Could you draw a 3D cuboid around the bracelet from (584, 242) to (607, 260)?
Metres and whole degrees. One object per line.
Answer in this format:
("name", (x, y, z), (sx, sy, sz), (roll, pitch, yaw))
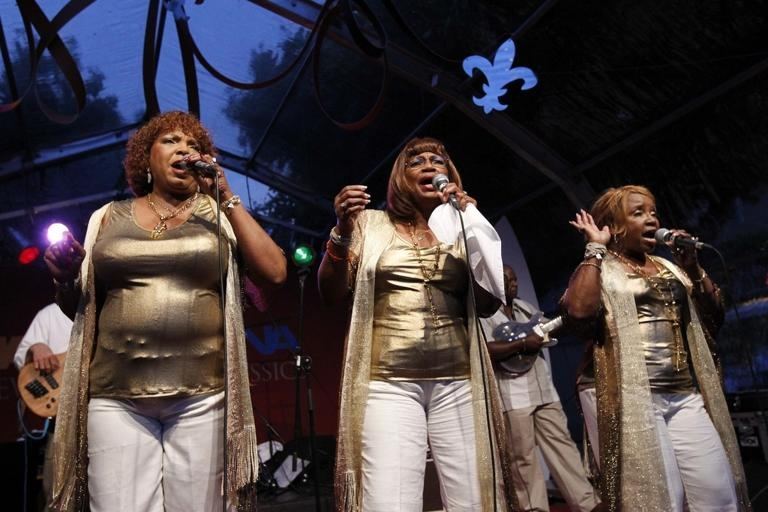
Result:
("bracelet", (1.570, -0.034, 4.489), (0.110, 0.107, 0.146), (8, -1, 10))

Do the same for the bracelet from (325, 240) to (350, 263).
("bracelet", (-0.310, -0.025, 3.856), (0.129, 0.100, 0.132), (0, 0, 4))

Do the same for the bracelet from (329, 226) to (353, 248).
("bracelet", (-0.280, -0.125, 3.923), (0.119, 0.083, 0.119), (5, 20, -37))

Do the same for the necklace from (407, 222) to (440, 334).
("necklace", (0.268, 0.142, 3.947), (0.164, 0.606, 0.048), (-6, -22, -13))

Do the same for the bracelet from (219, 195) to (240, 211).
("bracelet", (-0.960, -0.324, 3.775), (0.097, 0.040, 0.079), (-15, 18, 47))

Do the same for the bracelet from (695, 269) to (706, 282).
("bracelet", (2.474, 0.154, 4.723), (0.024, 0.095, 0.093), (5, 7, 15))

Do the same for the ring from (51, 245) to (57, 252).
("ring", (-1.961, -0.044, 3.617), (0.027, 0.035, 0.011), (-9, 5, -9))
